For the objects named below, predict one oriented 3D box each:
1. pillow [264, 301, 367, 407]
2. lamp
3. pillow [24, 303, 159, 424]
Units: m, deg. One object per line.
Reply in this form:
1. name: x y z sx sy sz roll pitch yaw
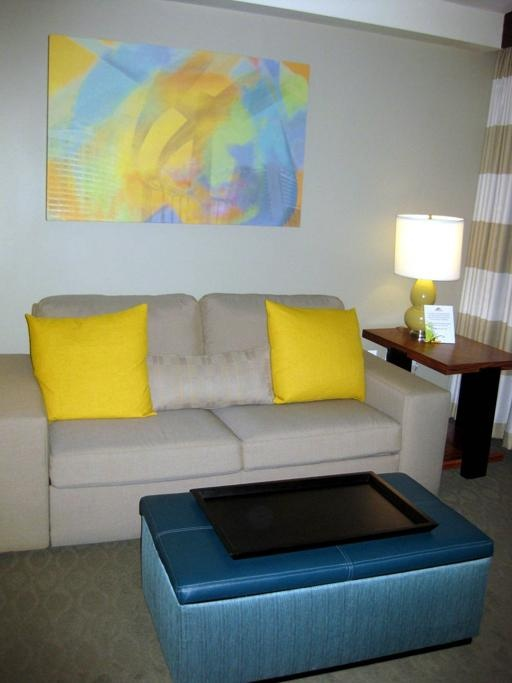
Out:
1. pillow: 0.258 0.074 2.515 0.436 0.407 0.202 -3 10 -19
2. lamp: 0.926 -0.343 3.002 0.520 0.650 0.529 4 12 13
3. pillow: -0.641 0.076 2.164 0.469 0.428 0.237 -1 11 -24
